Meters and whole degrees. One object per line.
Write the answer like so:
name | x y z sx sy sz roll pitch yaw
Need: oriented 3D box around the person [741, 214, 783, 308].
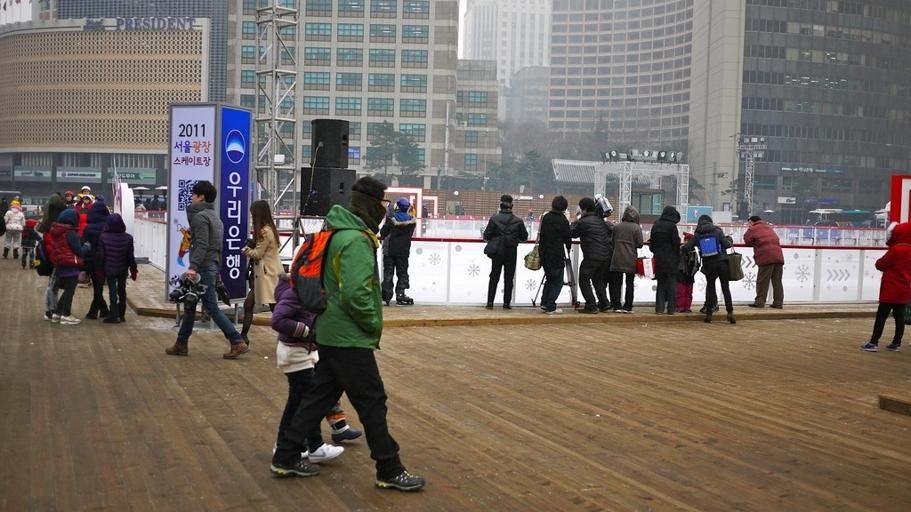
person | 8.860 0.199 21.413 1.176 2.622 0.850 7 13 21

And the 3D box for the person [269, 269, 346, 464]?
person | -2.181 1.670 11.103 0.915 2.645 0.864 0 0 45

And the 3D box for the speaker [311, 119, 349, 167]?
speaker | -3.452 -3.018 20.180 1.181 1.210 0.887 1 8 -20

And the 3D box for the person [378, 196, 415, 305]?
person | -1.542 -0.145 20.287 1.086 2.924 1.076 3 8 -16

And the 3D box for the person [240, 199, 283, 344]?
person | -3.913 0.398 15.595 1.441 2.963 0.918 -1 0 16
